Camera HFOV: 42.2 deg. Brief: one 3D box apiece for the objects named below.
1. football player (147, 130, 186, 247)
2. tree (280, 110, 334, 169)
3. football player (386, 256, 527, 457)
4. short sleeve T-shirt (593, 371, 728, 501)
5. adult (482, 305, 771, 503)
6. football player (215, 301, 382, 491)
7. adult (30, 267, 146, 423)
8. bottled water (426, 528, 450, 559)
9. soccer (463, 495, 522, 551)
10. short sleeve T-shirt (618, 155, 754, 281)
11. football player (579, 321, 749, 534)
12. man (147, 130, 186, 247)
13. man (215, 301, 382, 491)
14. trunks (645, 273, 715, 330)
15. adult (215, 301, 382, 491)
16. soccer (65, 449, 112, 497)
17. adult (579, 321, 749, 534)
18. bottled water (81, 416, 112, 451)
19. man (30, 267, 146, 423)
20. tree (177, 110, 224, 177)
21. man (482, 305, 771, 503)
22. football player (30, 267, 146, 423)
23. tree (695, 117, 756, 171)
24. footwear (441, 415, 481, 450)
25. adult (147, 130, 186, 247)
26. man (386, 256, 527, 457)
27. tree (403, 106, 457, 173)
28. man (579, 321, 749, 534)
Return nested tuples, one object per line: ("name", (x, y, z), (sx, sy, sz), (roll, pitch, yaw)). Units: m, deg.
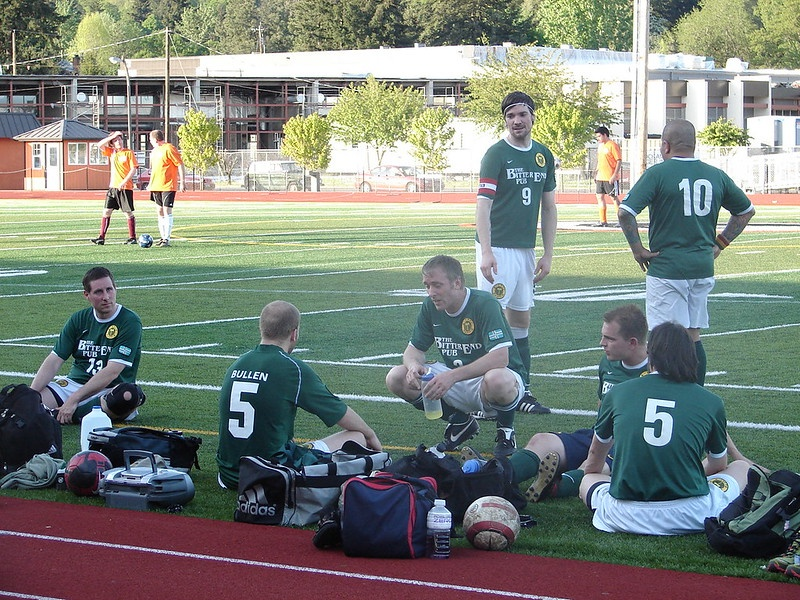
("football player", (-5.040, -2.351, 22.141), (0.632, 2.469, 1.491), (-1, 5, -13))
("tree", (-5.239, -8.971, 58.807), (2.203, 3.291, 2.798), (-2, 5, -24))
("football player", (0.495, 0.452, 8.351), (1.167, 1.536, 1.121), (-2, 1, 40))
("short sleeve T-shirt", (1.661, 0.853, 6.682), (0.888, 0.811, 0.477), (-1, 8, 17))
("adult", (1.482, 0.706, 7.590), (1.679, 1.001, 1.221), (0, 5, -35))
("football player", (-0.816, 0.664, 7.640), (1.268, 1.334, 1.183), (-2, 6, -26))
("adult", (-2.682, 0.402, 8.975), (1.138, 1.285, 0.967), (6, 8, 24))
("bottled water", (0.208, 1.450, 6.276), (0.163, 0.162, 0.163), (0, 2, 0))
("soccer", (0.550, 1.378, 6.419), (0.311, 0.310, 0.297), (4, -17, 4))
("short sleeve T-shirt", (2.374, -0.696, 8.803), (1.260, 1.031, 0.451), (-2, 3, -13))
("football player", (1.760, 0.853, 6.896), (1.211, 1.289, 0.946), (1, -3, 15))
("man", (-5.047, -2.355, 22.184), (0.637, 2.469, 1.577), (-1, 5, -13))
("man", (-0.851, 0.644, 7.678), (1.284, 1.332, 1.210), (-3, 8, -31))
("trunks", (2.289, -0.002, 8.616), (0.486, 0.479, 0.286), (-1, 11, -1))
("adult", (-0.774, 0.673, 7.616), (1.122, 1.338, 1.327), (0, 5, -5))
("soccer", (-2.231, 1.242, 7.381), (0.304, 0.303, 0.331), (-30, -36, 27))
("adult", (1.696, 0.832, 6.890), (1.158, 1.289, 0.874), (1, -3, 22))
("bottled water", (-2.298, 0.984, 7.784), (0.207, 0.348, 0.481), (-1, 5, -17))
("man", (-2.684, 0.417, 8.978), (1.130, 1.257, 0.950), (6, 7, 22))
("tree", (-11.165, -8.592, 57.204), (1.952, 3.557, 2.064), (2, 5, 12))
("man", (1.444, 0.723, 7.545), (1.679, 1.001, 1.221), (0, 5, -35))
("football player", (-2.685, 0.408, 8.983), (1.178, 1.253, 0.938), (5, 7, 19))
("tree", (13.723, -6.421, 45.599), (2.507, 2.815, 2.818), (9, 15, 24))
("footwear", (0.460, 1.083, 8.492), (0.146, 0.184, 0.440), (-9, 24, 50))
("adult", (-5.049, -2.357, 22.195), (0.637, 2.469, 1.601), (-1, 5, -13))
("man", (0.493, 0.451, 8.353), (1.198, 1.543, 1.117), (-3, 0, 42))
("tree", (1.691, -9.289, 60.360), (2.339, 3.849, 2.845), (3, 5, 24))
("man", (1.730, 0.841, 6.921), (1.168, 1.307, 0.961), (2, -2, 21))
